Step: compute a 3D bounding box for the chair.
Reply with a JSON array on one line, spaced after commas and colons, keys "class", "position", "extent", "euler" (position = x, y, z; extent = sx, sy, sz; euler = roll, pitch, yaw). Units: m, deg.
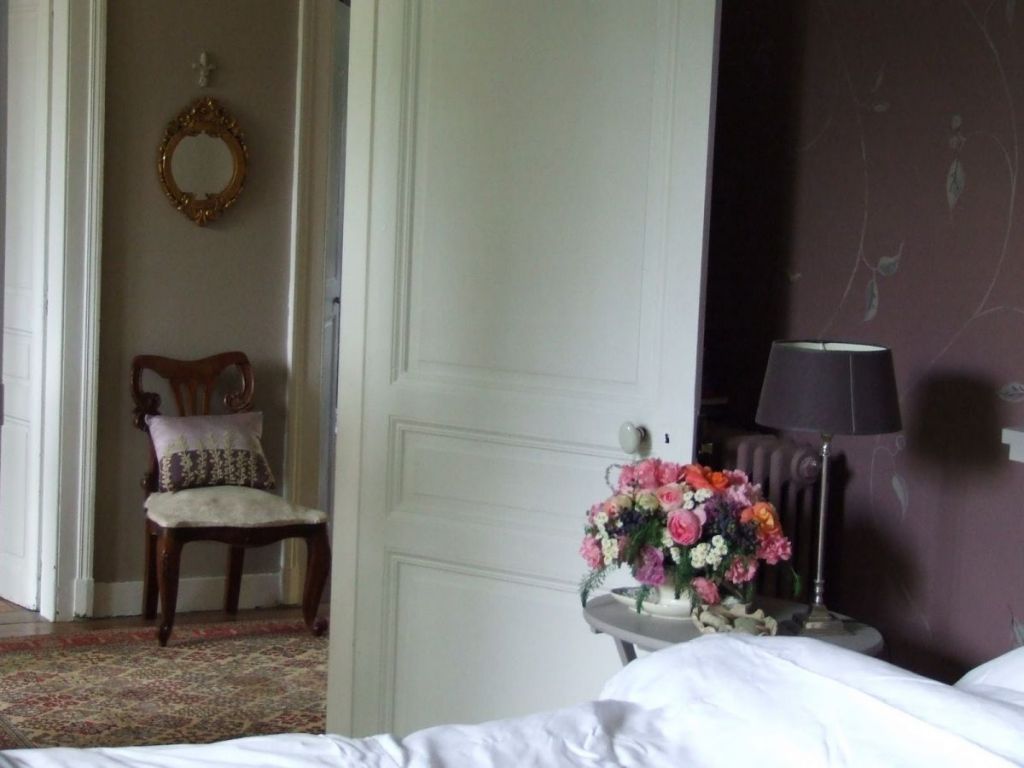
[{"class": "chair", "position": [-1.409, 0.544, 4.057], "extent": [0.822, 1.403, 0.929], "euler": [2, -1, -31]}]

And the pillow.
[{"class": "pillow", "position": [-1.489, 0.199, 4.083], "extent": [0.765, 0.615, 0.304], "euler": [-1, -6, -29]}]

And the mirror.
[{"class": "mirror", "position": [-1.592, -1.116, 4.247], "extent": [0.404, 0.638, 0.591], "euler": [-3, 10, -13]}]
